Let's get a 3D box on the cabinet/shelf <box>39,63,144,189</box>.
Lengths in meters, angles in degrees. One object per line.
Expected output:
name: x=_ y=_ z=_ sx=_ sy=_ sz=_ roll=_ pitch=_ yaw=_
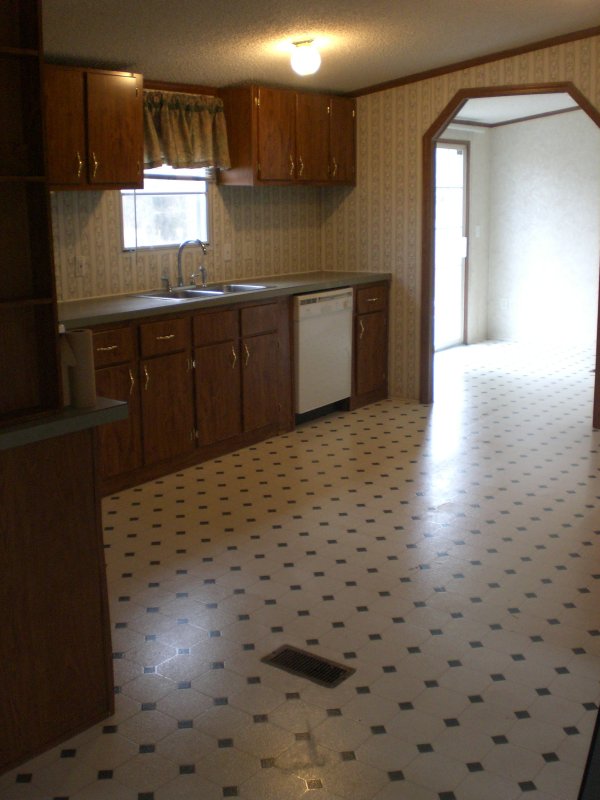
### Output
cabinet/shelf: x=-1.213 y=-1.572 z=3.718 sx=0.572 sy=0.631 sz=0.246 roll=-13 pitch=33 yaw=-35

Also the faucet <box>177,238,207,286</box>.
faucet: x=-0.795 y=-1.016 z=4.740 sx=0.231 sy=0.349 sz=0.489 roll=-2 pitch=9 yaw=-9

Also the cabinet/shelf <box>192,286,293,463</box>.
cabinet/shelf: x=-0.518 y=-0.244 z=4.692 sx=0.804 sy=1.128 sz=0.586 roll=-10 pitch=32 yaw=-20

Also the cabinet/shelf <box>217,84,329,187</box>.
cabinet/shelf: x=-0.116 y=-2.050 z=5.094 sx=0.881 sy=0.724 sz=0.340 roll=-13 pitch=18 yaw=-42

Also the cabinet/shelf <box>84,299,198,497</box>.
cabinet/shelf: x=-0.919 y=0.081 z=3.989 sx=0.709 sy=1.035 sz=0.494 roll=-9 pitch=-17 yaw=0
